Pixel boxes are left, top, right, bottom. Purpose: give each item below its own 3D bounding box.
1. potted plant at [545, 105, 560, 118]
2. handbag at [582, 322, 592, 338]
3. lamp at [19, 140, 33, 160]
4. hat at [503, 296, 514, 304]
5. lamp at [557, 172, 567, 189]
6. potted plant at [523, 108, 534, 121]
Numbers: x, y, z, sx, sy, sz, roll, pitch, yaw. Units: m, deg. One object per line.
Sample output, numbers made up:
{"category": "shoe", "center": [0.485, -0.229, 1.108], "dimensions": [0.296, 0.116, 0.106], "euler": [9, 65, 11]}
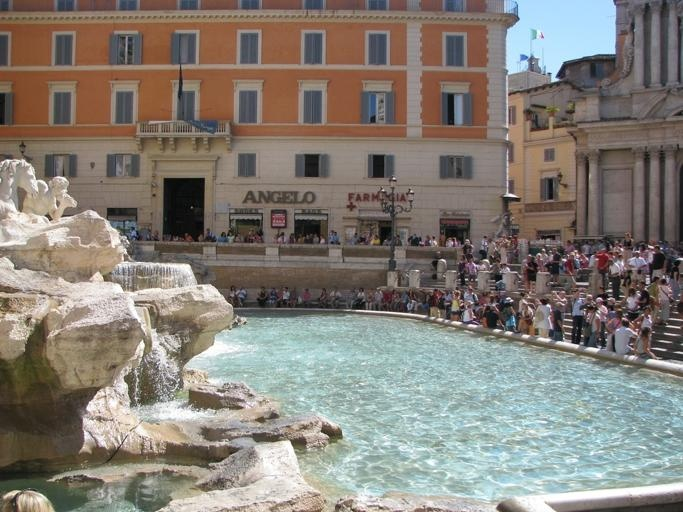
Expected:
{"category": "potted plant", "center": [12.385, -8.587, 53.049], "dimensions": [0.810, 0.560, 0.815], "euler": [2, 6, 20]}
{"category": "handbag", "center": [6.559, 1.945, 24.044], "dimensions": [0.189, 0.443, 0.448], "euler": [3, -7, 10]}
{"category": "lamp", "center": [-14.305, -4.754, 40.932], "dimensions": [0.575, 1.017, 3.330], "euler": [-3, 12, -18]}
{"category": "hat", "center": [5.005, 1.334, 26.899], "dimensions": [0.273, 0.235, 0.418], "euler": [-3, 0, -9]}
{"category": "lamp", "center": [12.778, -4.402, 52.132], "dimensions": [0.487, 0.940, 0.718], "euler": [-1, 11, -10]}
{"category": "potted plant", "center": [11.605, -8.815, 55.859], "dimensions": [0.663, 0.949, 0.639], "euler": [0, -3, 0]}
